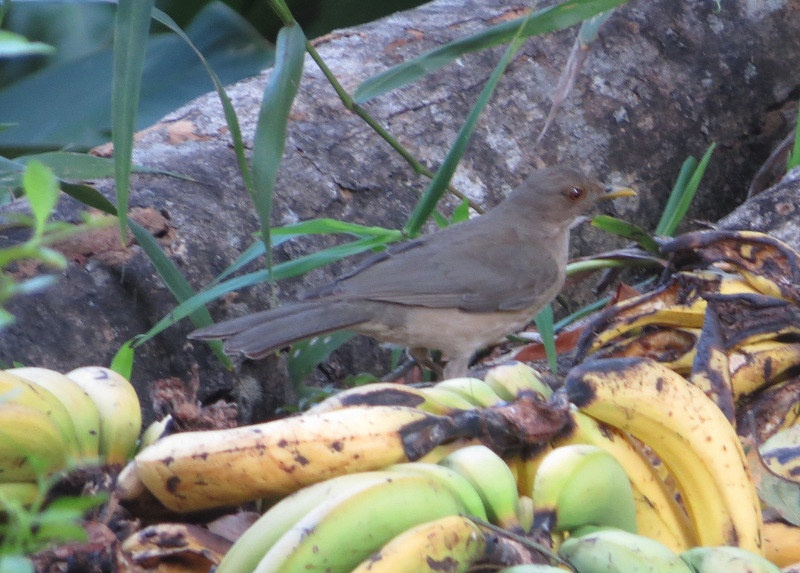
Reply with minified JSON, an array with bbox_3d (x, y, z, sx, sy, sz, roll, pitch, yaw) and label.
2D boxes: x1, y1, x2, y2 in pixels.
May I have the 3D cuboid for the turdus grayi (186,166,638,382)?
[{"bbox_3d":[0.059,0.034,3.131,1.294,0.803,0.418,0,6,-1],"label":"turdus grayi"}]
